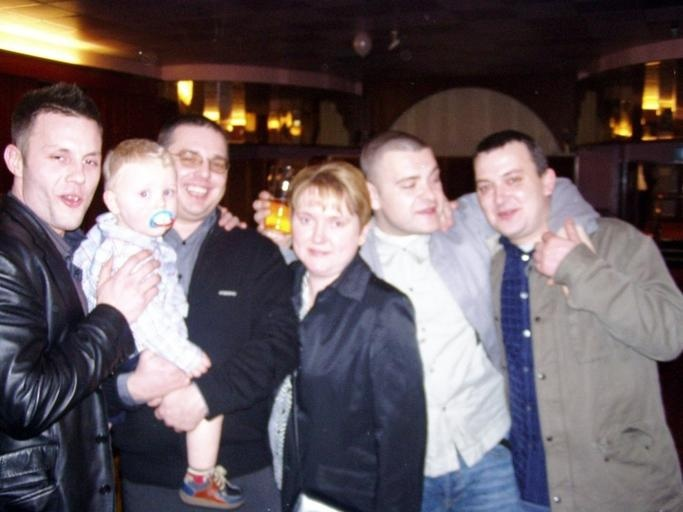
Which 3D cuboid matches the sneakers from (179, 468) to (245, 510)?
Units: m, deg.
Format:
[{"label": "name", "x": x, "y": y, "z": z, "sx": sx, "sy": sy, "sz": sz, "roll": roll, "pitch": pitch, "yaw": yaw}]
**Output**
[{"label": "sneakers", "x": -0.613, "y": 1.120, "z": 2.887, "sx": 0.319, "sy": 0.200, "sz": 0.156, "roll": 3, "pitch": 1, "yaw": -9}]
